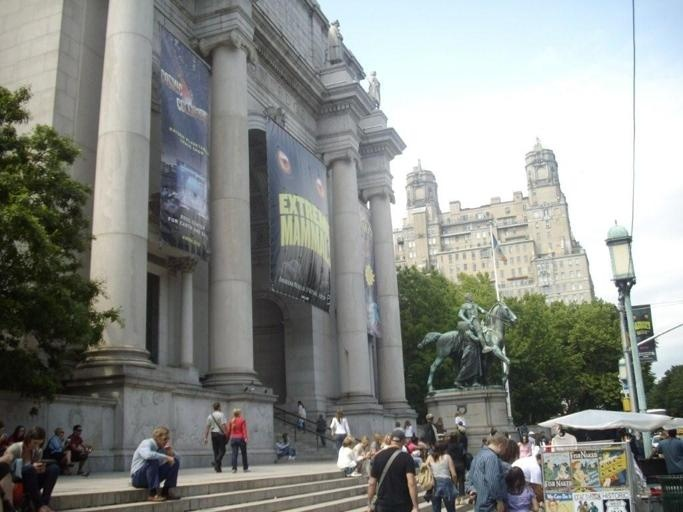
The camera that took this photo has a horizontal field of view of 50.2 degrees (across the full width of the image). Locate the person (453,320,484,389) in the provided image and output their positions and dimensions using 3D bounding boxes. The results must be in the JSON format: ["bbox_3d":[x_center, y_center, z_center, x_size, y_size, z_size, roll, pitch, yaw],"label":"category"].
[{"bbox_3d":[5.967,4.445,33.667,1.244,3.056,0.851,-8,-17,13],"label":"person"}]

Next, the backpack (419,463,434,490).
[{"bbox_3d":[1.918,4.867,16.031,0.257,0.540,0.460,2,-24,-8],"label":"backpack"}]

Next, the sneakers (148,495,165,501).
[{"bbox_3d":[-3.803,4.982,14.916,0.252,0.114,0.138,-1,-6,8],"label":"sneakers"}]

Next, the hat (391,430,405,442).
[{"bbox_3d":[1.031,3.170,12.881,0.261,0.204,0.439,3,-9,8],"label":"hat"}]
